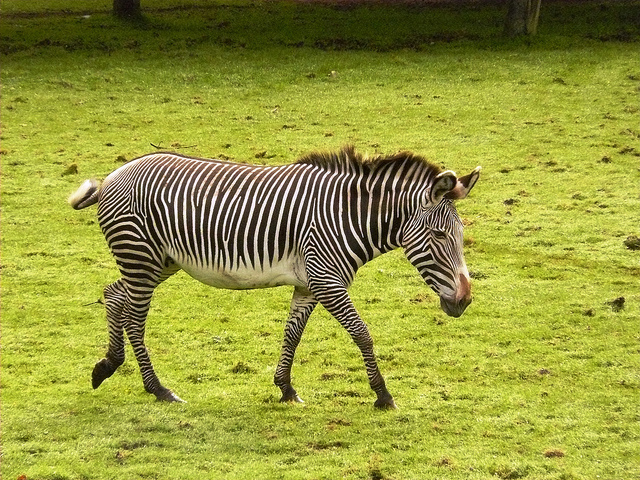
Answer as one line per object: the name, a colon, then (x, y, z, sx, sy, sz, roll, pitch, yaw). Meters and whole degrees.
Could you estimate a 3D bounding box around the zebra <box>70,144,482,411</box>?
zebra: (-0.665, 0.456, 15.040, 5.177, 3.467, 1.589, 3, 26, 1)
